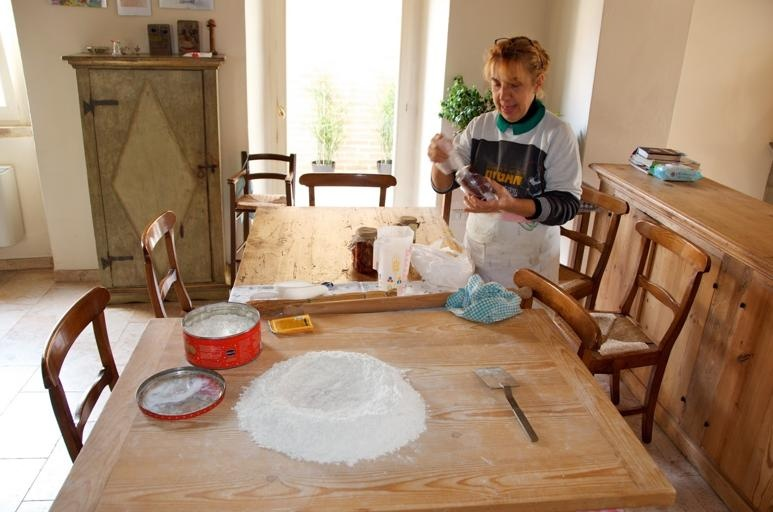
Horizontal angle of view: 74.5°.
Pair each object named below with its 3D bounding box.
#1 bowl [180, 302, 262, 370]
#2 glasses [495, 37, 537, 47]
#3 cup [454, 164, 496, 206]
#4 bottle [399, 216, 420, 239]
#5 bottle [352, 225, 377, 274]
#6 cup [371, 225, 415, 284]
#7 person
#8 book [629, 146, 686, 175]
[{"bbox_3d":[-0.539,0.264,1.728,0.235,0.140,0.232,2,22,-1],"label":"bowl"},{"bbox_3d":[0.603,-0.994,2.359,0.169,0.043,0.133,11,23,30],"label":"glasses"},{"bbox_3d":[0.396,-0.316,2.264,0.079,0.123,0.203,-16,25,-34],"label":"cup"},{"bbox_3d":[0.124,-0.145,2.583,0.134,0.124,0.082,3,9,18],"label":"bottle"},{"bbox_3d":[-0.094,-0.011,2.348,0.136,0.181,0.132,1,9,0],"label":"bottle"},{"bbox_3d":[0.022,0.008,2.141,0.185,0.252,0.181,-1,21,0],"label":"cup"},{"bbox_3d":[0.625,-0.223,2.743,0.683,1.687,0.665,13,38,30],"label":"person"},{"bbox_3d":[1.804,-0.643,3.338,0.243,0.078,0.232,2,17,-3],"label":"book"}]
